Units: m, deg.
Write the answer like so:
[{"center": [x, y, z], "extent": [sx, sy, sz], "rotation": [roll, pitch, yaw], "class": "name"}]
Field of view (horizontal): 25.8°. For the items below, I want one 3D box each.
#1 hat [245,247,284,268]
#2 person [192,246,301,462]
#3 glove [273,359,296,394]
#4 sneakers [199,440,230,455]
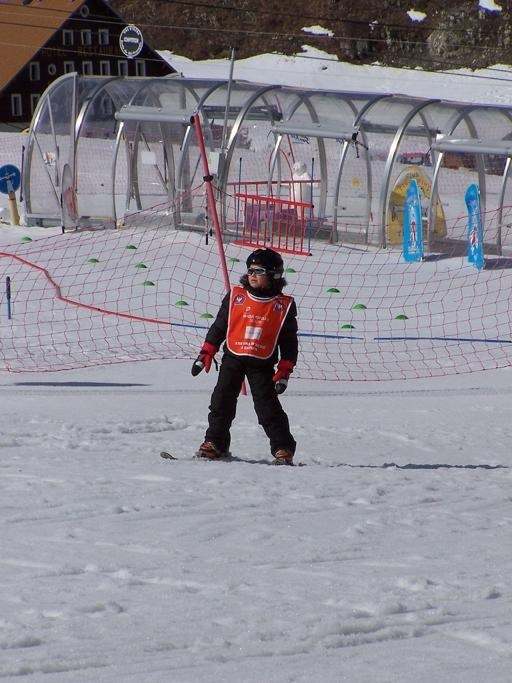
[{"center": [0.067, -0.454, 6.260], "extent": [0.167, 0.114, 0.121], "rotation": [29, -27, -32], "class": "hat"}, {"center": [-0.065, 0.079, 6.269], "extent": [0.586, 1.177, 0.610], "rotation": [-1, 10, 0], "class": "person"}, {"center": [0.133, 0.196, 6.179], "extent": [0.086, 0.178, 0.118], "rotation": [1, -30, 38], "class": "glove"}, {"center": [-0.242, 0.596, 6.170], "extent": [0.062, 0.058, 0.171], "rotation": [-3, -12, 43], "class": "sneakers"}]
